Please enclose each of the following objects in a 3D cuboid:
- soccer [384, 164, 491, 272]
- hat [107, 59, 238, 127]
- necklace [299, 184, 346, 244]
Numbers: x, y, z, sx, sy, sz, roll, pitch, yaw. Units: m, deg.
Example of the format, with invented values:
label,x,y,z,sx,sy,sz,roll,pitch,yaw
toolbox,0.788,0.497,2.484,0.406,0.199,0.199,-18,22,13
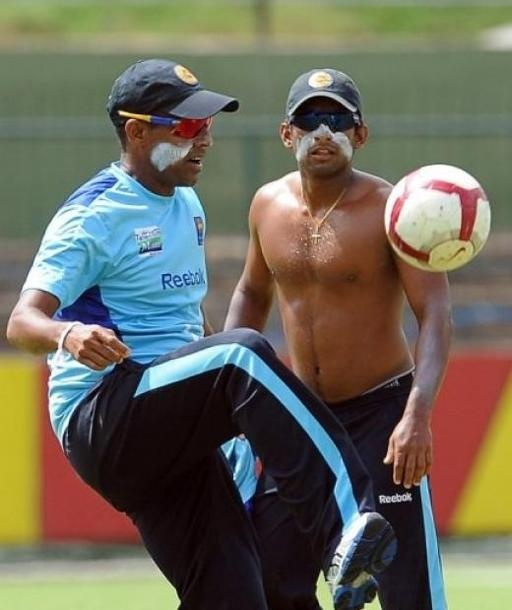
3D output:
label,x,y,z,sx,sy,sz,roll,pitch,yaw
soccer,0.632,-0.305,4.415,0.421,0.392,0.392,8,36,15
hat,-0.314,-0.751,4.610,0.392,0.178,0.250,-7,6,11
necklace,0.254,-0.352,4.780,0.151,0.222,0.153,2,17,22
